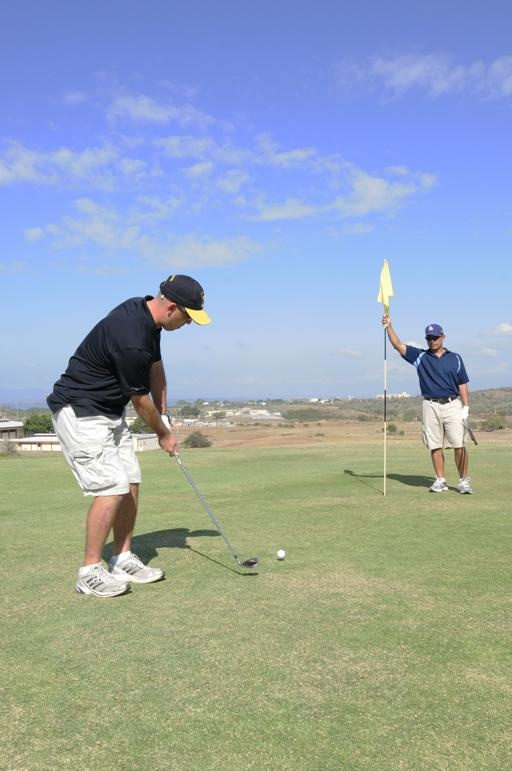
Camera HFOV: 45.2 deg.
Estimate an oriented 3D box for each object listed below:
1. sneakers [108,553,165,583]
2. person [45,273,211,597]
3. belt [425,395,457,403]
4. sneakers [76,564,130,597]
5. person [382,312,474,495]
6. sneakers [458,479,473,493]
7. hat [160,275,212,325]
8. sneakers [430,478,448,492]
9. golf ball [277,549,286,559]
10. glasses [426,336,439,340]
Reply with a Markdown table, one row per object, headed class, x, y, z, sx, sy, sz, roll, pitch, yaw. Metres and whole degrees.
| class | x | y | z | sx | sy | sz | roll | pitch | yaw |
| --- | --- | --- | --- | --- | --- | --- | --- | --- | --- |
| sneakers | -0.767 | 1.168 | 3.944 | 0.381 | 0.159 | 0.146 | 3 | -6 | 23 |
| person | -0.790 | 0.302 | 3.807 | 0.913 | 1.998 | 1.036 | -6 | 0 | -18 |
| belt | 2.376 | 0.207 | 7.868 | 0.343 | 0.069 | 0.098 | -4 | 1 | 29 |
| sneakers | -0.889 | 1.166 | 3.661 | 0.329 | 0.146 | 0.153 | 0 | -7 | 19 |
| person | 2.338 | 0.208 | 7.891 | 0.914 | 2.236 | 1.068 | -6 | 0 | -12 |
| sneakers | 2.598 | 1.272 | 7.526 | 0.136 | 0.160 | 0.248 | 0 | -15 | 1 |
| hat | -0.443 | -0.515 | 3.780 | 0.273 | 0.312 | 0.133 | -5 | 0 | -5 |
| sneakers | 2.316 | 1.289 | 7.773 | 0.122 | 0.140 | 0.334 | -7 | -13 | 29 |
| golf ball | 0.185 | 1.218 | 4.386 | 0.050 | 0.036 | 0.056 | 2 | 2 | 9 |
| glasses | 2.294 | -0.604 | 7.972 | 0.122 | 0.034 | 0.129 | -4 | -7 | 39 |
